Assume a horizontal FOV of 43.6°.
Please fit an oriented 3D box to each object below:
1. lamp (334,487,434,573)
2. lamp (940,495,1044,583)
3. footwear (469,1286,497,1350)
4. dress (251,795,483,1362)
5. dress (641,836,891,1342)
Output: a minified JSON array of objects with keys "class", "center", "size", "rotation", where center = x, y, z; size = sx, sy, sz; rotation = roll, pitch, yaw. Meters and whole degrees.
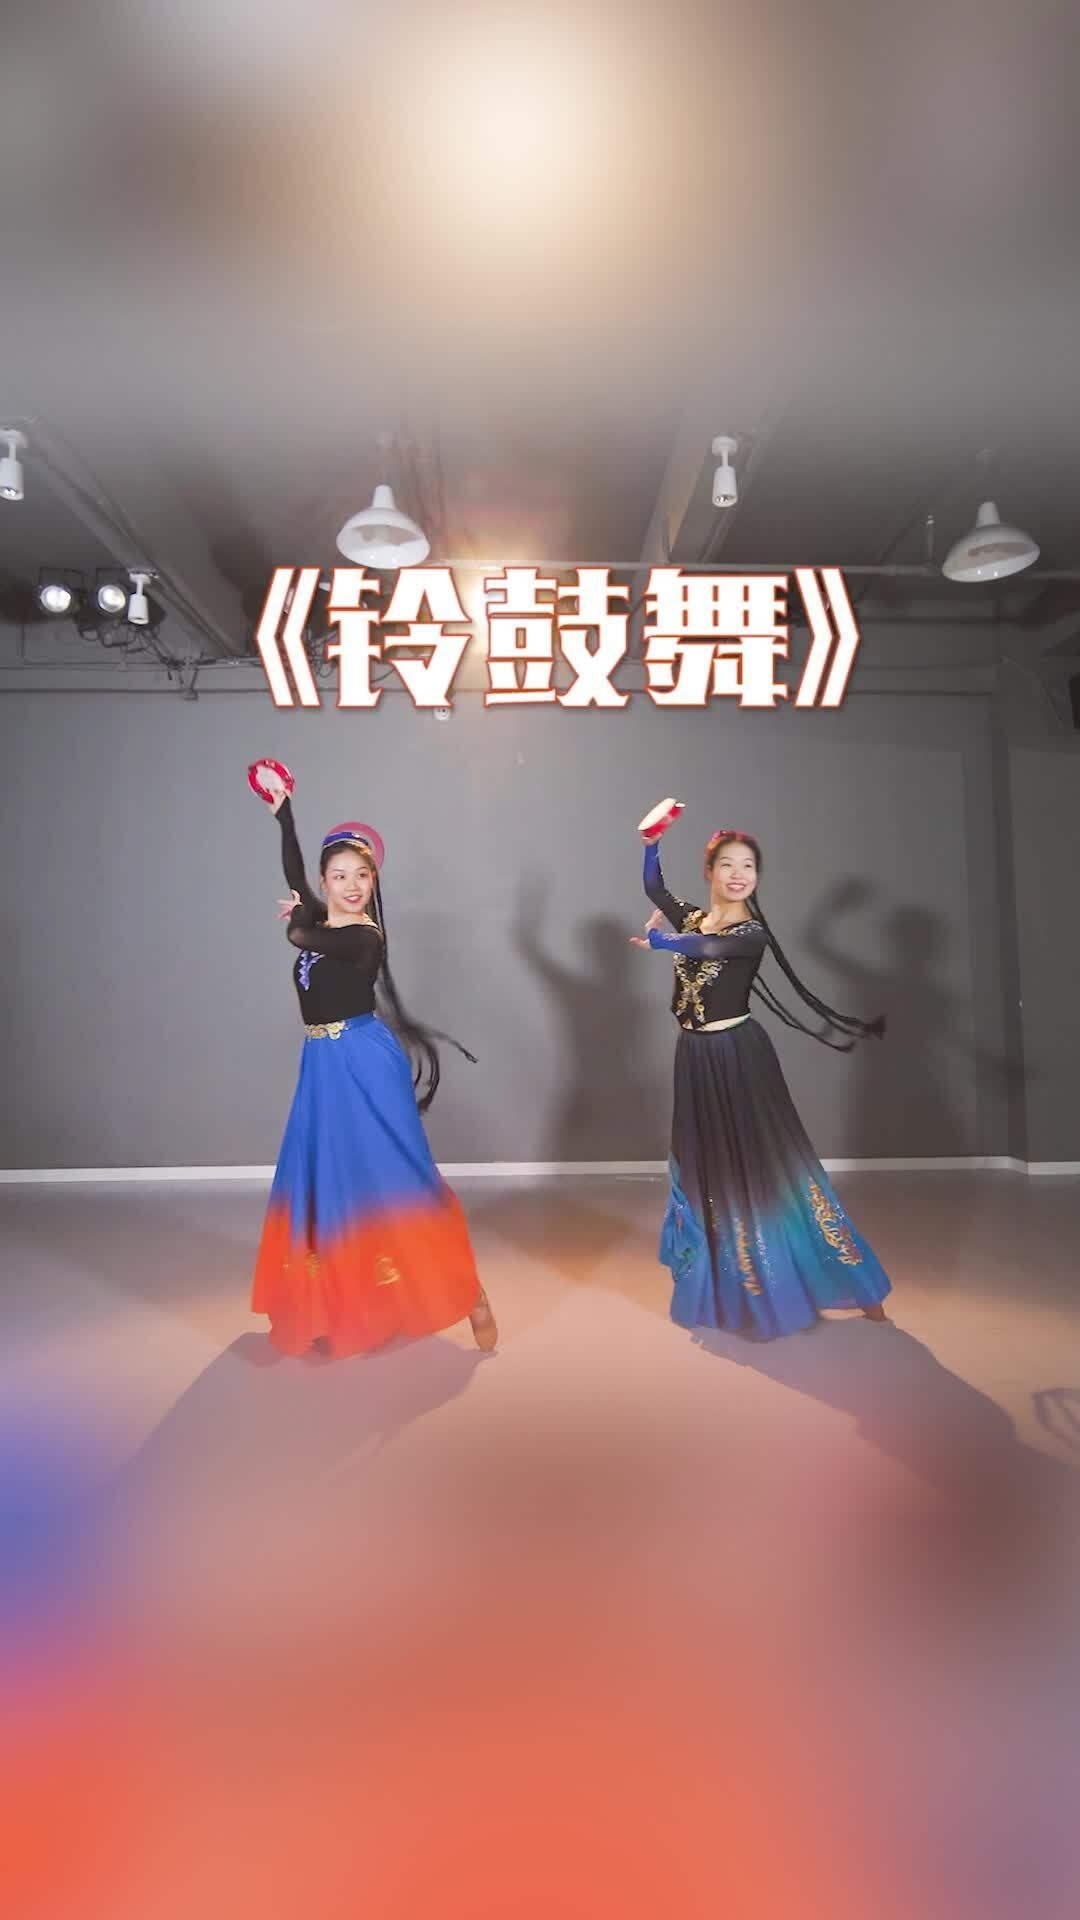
[{"class":"lamp","center":[-0.489,-1.350,4.166],"size":[0.254,0.237,0.453],"rotation":[-2,11,-8]},{"class":"lamp","center":[1.472,-1.397,4.412],"size":[0.261,0.229,0.378],"rotation":[3,11,16]},{"class":"footwear","center":[-0.135,0.836,3.194],"size":[0.048,0.041,0.160],"rotation":[6,41,-16]},{"class":"dress","center":[-0.433,0.238,3.116],"size":[0.507,1.341,0.519],"rotation":[-7,12,-30]},{"class":"dress","center":[0.567,0.265,3.402],"size":[0.644,1.313,0.658],"rotation":[1,11,8]}]
